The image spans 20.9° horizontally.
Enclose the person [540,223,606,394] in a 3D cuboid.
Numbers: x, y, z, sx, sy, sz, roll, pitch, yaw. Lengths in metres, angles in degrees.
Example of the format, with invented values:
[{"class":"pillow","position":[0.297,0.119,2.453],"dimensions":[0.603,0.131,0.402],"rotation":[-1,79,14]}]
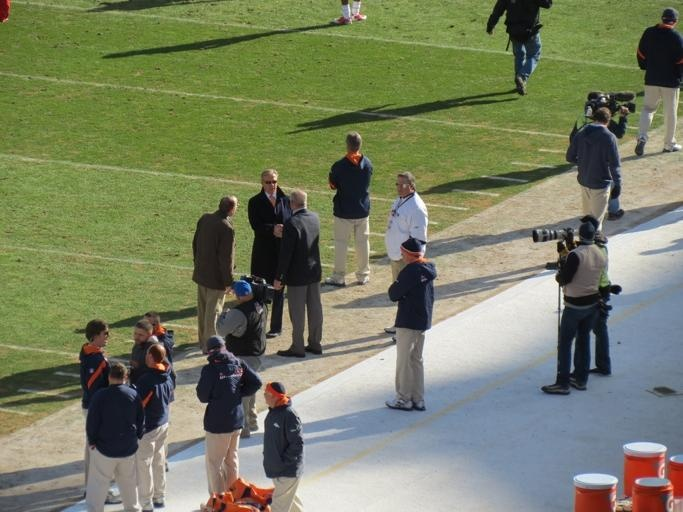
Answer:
[{"class":"person","position":[3.759,0.834,29.698],"dimensions":[0.974,2.706,0.435],"rotation":[-9,13,-28]}]

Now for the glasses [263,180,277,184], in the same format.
[{"class":"glasses","position":[-1.218,-1.266,31.506],"dimensions":[0.191,0.088,0.085],"rotation":[-6,11,-19]}]

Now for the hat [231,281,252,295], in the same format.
[{"class":"hat","position":[-1.549,0.471,28.742],"dimensions":[0.209,0.136,0.279],"rotation":[-21,38,-29]}]

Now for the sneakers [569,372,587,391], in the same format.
[{"class":"sneakers","position":[3.808,1.999,30.002],"dimensions":[0.172,0.155,0.400],"rotation":[-8,20,-18]}]

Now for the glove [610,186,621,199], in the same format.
[{"class":"glove","position":[5.082,-1.239,34.071],"dimensions":[0.202,0.226,0.229],"rotation":[4,52,4]}]

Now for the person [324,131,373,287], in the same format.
[{"class":"person","position":[0.135,-0.847,33.007],"dimensions":[0.854,2.748,0.497],"rotation":[-3,12,0]}]

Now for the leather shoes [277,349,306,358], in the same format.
[{"class":"leather shoes","position":[-0.841,1.615,31.178],"dimensions":[0.474,0.167,0.164],"rotation":[4,5,19]}]

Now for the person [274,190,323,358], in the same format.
[{"class":"person","position":[-0.703,0.267,31.064],"dimensions":[0.648,2.766,0.850],"rotation":[3,13,28]}]

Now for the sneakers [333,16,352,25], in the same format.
[{"class":"sneakers","position":[0.025,-5.940,46.835],"dimensions":[0.192,0.190,0.496],"rotation":[-10,16,-33]}]

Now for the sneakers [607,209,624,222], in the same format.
[{"class":"sneakers","position":[5.197,-0.784,35.032],"dimensions":[0.154,0.122,0.316],"rotation":[13,26,37]}]

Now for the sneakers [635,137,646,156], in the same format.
[{"class":"sneakers","position":[6.135,-2.258,37.954],"dimensions":[0.182,0.378,0.163],"rotation":[16,49,21]}]

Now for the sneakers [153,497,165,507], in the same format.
[{"class":"sneakers","position":[-2.747,3.668,27.913],"dimensions":[0.149,0.102,0.154],"rotation":[-18,25,-41]}]

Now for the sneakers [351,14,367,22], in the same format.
[{"class":"sneakers","position":[0.454,-6.107,47.422],"dimensions":[0.151,0.170,0.453],"rotation":[17,24,40]}]

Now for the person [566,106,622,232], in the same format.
[{"class":"person","position":[4.512,-1.648,33.004],"dimensions":[0.476,1.996,0.918],"rotation":[-14,15,-41]}]

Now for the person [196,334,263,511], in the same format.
[{"class":"person","position":[-1.794,2.380,27.914],"dimensions":[0.572,2.372,1.081],"rotation":[6,15,39]}]

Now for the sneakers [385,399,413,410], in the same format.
[{"class":"sneakers","position":[0.939,2.346,29.751],"dimensions":[0.442,0.185,0.164],"rotation":[7,14,15]}]

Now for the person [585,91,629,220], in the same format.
[{"class":"person","position":[5.271,-2.185,35.262],"dimensions":[0.813,1.841,0.635],"rotation":[-1,40,12]}]

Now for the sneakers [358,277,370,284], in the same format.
[{"class":"sneakers","position":[0.392,0.419,33.298],"dimensions":[0.175,0.141,0.109],"rotation":[1,8,8]}]

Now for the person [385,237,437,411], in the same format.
[{"class":"person","position":[1.095,1.083,29.439],"dimensions":[0.819,2.724,0.437],"rotation":[-8,13,-20]}]

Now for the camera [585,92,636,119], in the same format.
[{"class":"camera","position":[5.046,-2.902,35.010],"dimensions":[1.160,0.426,0.579],"rotation":[-8,14,-35]}]

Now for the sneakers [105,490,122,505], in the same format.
[{"class":"sneakers","position":[-3.472,3.618,28.117],"dimensions":[0.279,0.092,0.198],"rotation":[9,-2,2]}]

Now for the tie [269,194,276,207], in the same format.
[{"class":"tie","position":[-1.178,-0.975,31.683],"dimensions":[0.140,0.166,0.052],"rotation":[-5,-10,-23]}]

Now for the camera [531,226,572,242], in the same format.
[{"class":"camera","position":[3.473,-0.354,29.907],"dimensions":[0.679,0.238,0.262],"rotation":[-2,8,-12]}]

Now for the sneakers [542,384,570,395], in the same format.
[{"class":"sneakers","position":[3.461,2.095,29.886],"dimensions":[0.474,0.172,0.163],"rotation":[4,12,18]}]

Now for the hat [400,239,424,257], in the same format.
[{"class":"hat","position":[1.114,-0.156,29.439],"dimensions":[0.332,0.283,0.327],"rotation":[-4,11,-5]}]

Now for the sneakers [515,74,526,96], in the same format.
[{"class":"sneakers","position":[4.024,-3.746,40.890],"dimensions":[0.184,0.453,0.198],"rotation":[-30,28,-4]}]

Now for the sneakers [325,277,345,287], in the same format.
[{"class":"sneakers","position":[-0.114,0.423,33.295],"dimensions":[0.308,0.256,0.152],"rotation":[7,12,20]}]
